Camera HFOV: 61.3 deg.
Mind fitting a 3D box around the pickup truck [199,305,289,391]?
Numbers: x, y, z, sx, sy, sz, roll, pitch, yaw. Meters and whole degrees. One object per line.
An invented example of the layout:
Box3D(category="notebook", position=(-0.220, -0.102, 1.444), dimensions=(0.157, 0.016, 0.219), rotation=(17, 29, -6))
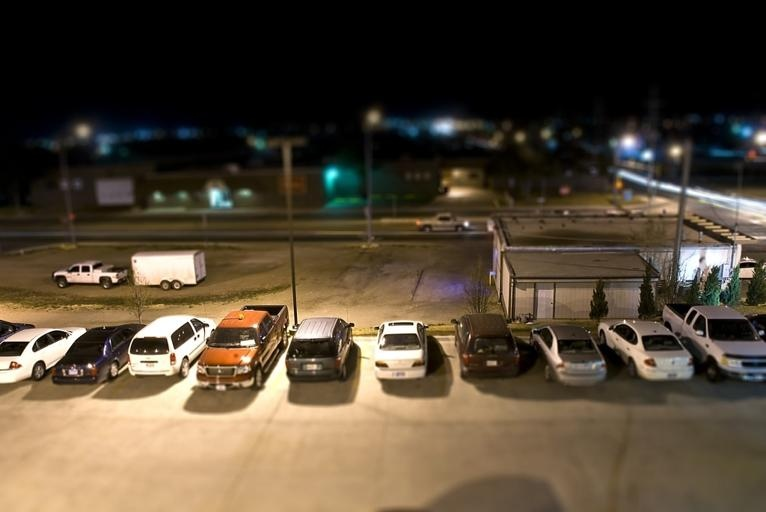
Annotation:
Box3D(category="pickup truck", position=(-5.819, 3.781, 27.271), dimensions=(2.346, 2.499, 4.238), rotation=(1, 13, 12))

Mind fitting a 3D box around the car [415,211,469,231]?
Box3D(category="car", position=(4.832, -2.804, 54.396), dimensions=(4.014, 1.286, 1.899), rotation=(-1, 17, 2))

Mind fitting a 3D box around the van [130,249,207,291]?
Box3D(category="van", position=(-12.905, 0.845, 38.777), dimensions=(3.748, 2.189, 1.237), rotation=(-5, 13, -12))

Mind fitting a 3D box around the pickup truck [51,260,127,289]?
Box3D(category="pickup truck", position=(-17.931, 1.121, 39.794), dimensions=(4.112, 1.465, 1.220), rotation=(0, 13, 9))

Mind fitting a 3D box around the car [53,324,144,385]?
Box3D(category="car", position=(-11.938, 4.187, 27.014), dimensions=(1.559, 1.854, 3.266), rotation=(8, 16, 38))
